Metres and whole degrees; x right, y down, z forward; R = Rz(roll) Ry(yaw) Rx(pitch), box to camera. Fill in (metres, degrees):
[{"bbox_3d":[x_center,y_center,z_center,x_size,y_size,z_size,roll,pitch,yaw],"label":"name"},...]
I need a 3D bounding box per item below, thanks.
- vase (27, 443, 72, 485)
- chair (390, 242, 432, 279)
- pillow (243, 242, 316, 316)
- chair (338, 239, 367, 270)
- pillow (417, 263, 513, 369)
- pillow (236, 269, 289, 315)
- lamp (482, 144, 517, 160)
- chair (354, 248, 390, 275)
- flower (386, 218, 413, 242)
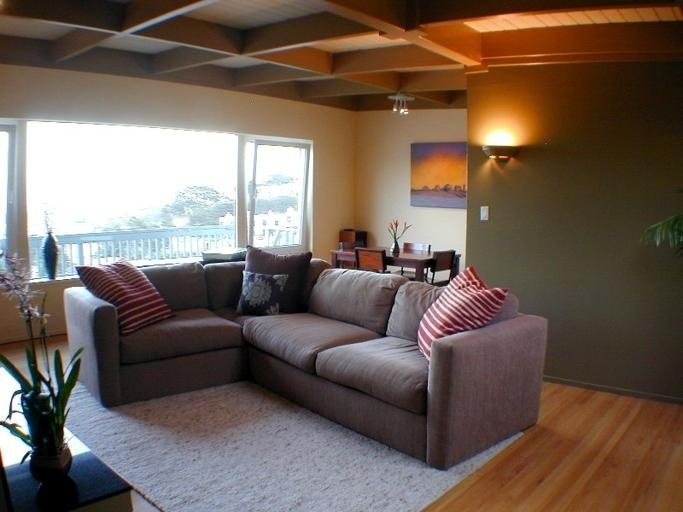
[{"bbox_3d":[-1.523,1.079,2.593,0.222,0.158,0.214,4,7,-13],"label":"vase"},{"bbox_3d":[0.948,0.100,6.843,0.528,0.472,0.422,6,24,29],"label":"chair"},{"bbox_3d":[-0.801,0.206,5.029,0.374,0.657,0.755,4,-5,27],"label":"pillow"},{"bbox_3d":[0.076,-0.011,6.997,0.510,0.474,0.361,3,4,43],"label":"chair"},{"bbox_3d":[0.838,0.414,3.593,0.648,0.614,0.500,-7,15,-29],"label":"pillow"},{"bbox_3d":[-0.737,0.374,4.725,0.534,0.415,0.203,-4,-26,22],"label":"pillow"},{"bbox_3d":[1.472,-0.954,4.598,0.315,0.128,0.193,5,13,21],"label":"lamp"},{"bbox_3d":[0.383,0.065,6.330,0.322,0.214,0.351,7,8,39],"label":"chair"},{"bbox_3d":[0.979,-0.435,8.191,0.315,0.446,0.449,5,1,-40],"label":"flower"}]
